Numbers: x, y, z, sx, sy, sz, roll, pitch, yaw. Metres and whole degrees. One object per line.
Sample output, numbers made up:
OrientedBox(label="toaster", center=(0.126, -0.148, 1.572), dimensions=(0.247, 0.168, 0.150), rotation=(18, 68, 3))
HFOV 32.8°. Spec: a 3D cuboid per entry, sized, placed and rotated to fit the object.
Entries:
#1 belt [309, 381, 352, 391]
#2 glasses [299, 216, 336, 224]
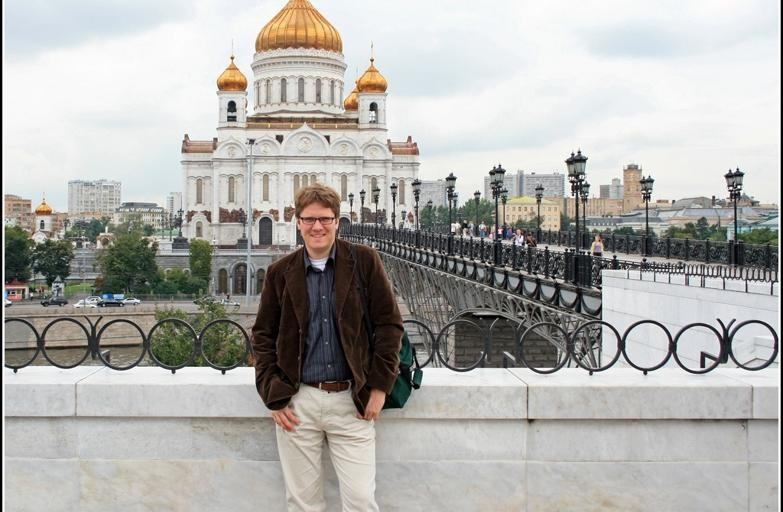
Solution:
OrientedBox(label="belt", center=(-0.772, 1.627, 16.553), dimensions=(0.533, 0.133, 0.025), rotation=(0, -3, 0))
OrientedBox(label="glasses", center=(-0.914, -0.425, 16.520), dimensions=(0.475, 0.118, 0.092), rotation=(0, -3, -1))
